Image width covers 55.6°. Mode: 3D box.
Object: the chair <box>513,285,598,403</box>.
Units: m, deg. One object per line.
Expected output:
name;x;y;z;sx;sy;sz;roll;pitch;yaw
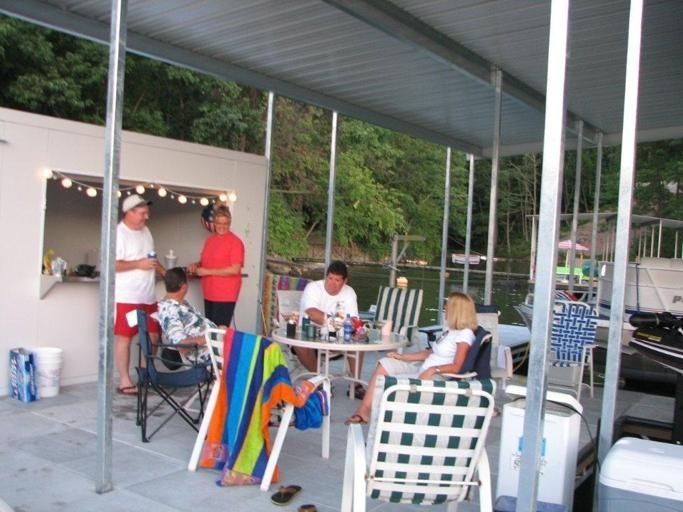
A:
chair;2.710;1.062;7.582;0.534;1.174;1.635;5;7;21

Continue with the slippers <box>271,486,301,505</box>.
slippers;-0.387;1.668;4.597;0.130;0.079;0.261;7;8;27

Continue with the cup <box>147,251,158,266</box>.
cup;-1.984;0.011;6.850;0.120;0.147;0.125;1;0;0

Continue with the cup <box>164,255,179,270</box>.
cup;-2.084;0.063;7.949;0.171;0.202;0.176;1;2;0

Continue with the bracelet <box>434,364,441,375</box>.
bracelet;0.813;0.962;5.482;0.052;0.076;0.021;0;-2;21

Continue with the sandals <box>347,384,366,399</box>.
sandals;0.170;1.434;6.876;0.124;0.076;0.172;3;1;13

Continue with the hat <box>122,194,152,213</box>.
hat;-2.161;-0.546;6.792;0.277;0.155;0.189;-18;9;2

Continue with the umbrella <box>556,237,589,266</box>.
umbrella;6.988;-0.119;19.654;0.995;0.788;1.021;-1;5;-20
